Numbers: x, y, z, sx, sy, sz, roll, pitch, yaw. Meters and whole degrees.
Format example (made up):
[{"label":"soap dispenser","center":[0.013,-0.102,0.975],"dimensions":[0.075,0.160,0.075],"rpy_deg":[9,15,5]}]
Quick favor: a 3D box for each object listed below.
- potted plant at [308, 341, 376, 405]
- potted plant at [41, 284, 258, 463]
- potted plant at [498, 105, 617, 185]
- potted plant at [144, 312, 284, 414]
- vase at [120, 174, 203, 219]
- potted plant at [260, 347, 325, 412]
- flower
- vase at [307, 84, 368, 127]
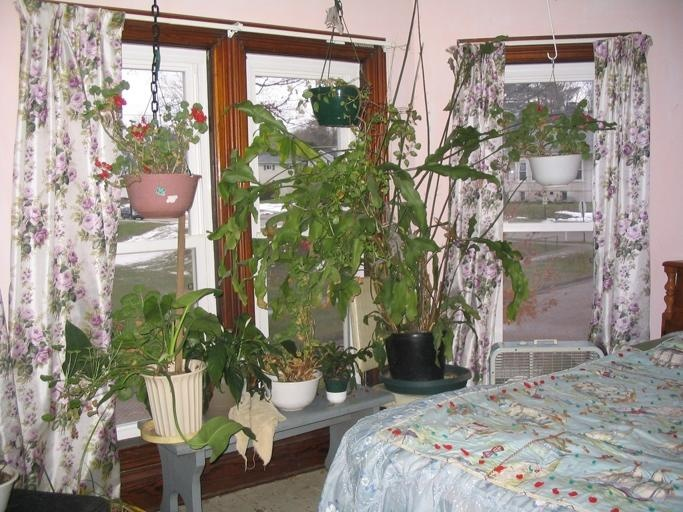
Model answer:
[{"label":"potted plant","center":[0.003,0.615,3.047],"dimensions":[0.284,0.218,0.293],"rpy_deg":[0,-7,-11]},{"label":"potted plant","center":[-0.869,0.494,2.577],"dimensions":[1.049,0.739,0.575],"rpy_deg":[0,6,15]},{"label":"potted plant","center":[1.253,-0.605,3.244],"dimensions":[0.569,0.372,0.507],"rpy_deg":[-6,2,24]},{"label":"potted plant","center":[-0.621,0.454,2.737],"dimensions":[0.507,0.345,0.522],"rpy_deg":[-3,-3,-6]},{"label":"vase","center":[-0.798,-0.271,2.544],"dimensions":[0.329,0.201,0.344],"rpy_deg":[2,6,3]},{"label":"potted plant","center":[-0.243,0.594,2.805],"dimensions":[0.258,0.252,0.310],"rpy_deg":[0,-8,2]},{"label":"flower","center":[-0.890,-0.539,2.644],"dimensions":[0.551,0.452,0.620],"rpy_deg":[0,-2,-13]},{"label":"vase","center":[-0.041,-0.787,2.962],"dimensions":[0.208,0.185,0.243],"rpy_deg":[0,2,21]}]
